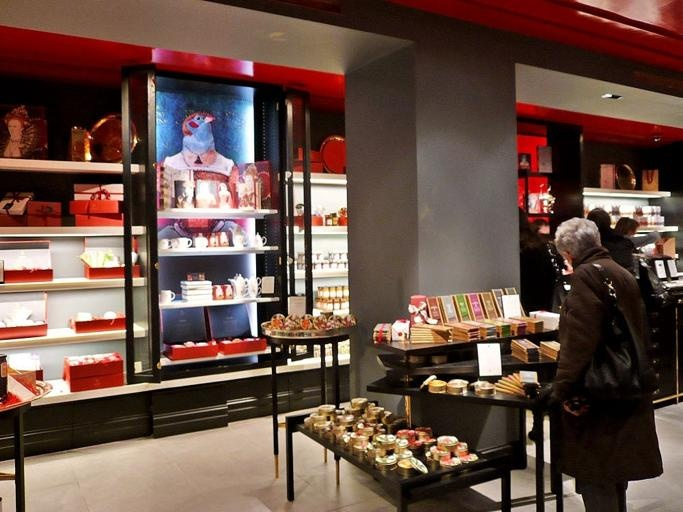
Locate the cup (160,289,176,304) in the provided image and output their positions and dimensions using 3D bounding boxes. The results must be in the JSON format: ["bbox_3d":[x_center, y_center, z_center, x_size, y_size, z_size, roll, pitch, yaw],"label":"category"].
[{"bbox_3d":[-1.734,0.413,5.473,0.098,0.124,0.154,-3,-12,23],"label":"cup"}]

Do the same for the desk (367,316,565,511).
[{"bbox_3d":[0.839,1.062,3.720,0.758,0.949,1.370,3,-7,-34],"label":"desk"}]

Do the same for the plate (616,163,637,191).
[{"bbox_3d":[4.529,-1.255,8.724,0.407,0.402,0.098,0,0,9],"label":"plate"}]

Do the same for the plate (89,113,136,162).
[{"bbox_3d":[-2.265,-1.212,5.385,0.426,0.116,0.425,-2,-14,36],"label":"plate"}]

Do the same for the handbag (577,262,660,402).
[{"bbox_3d":[1.568,0.441,3.048,0.384,0.710,0.293,5,16,28],"label":"handbag"}]

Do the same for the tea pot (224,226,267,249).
[{"bbox_3d":[-1.012,-0.191,5.812,0.403,0.190,0.210,2,-5,-32],"label":"tea pot"}]

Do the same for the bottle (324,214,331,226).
[{"bbox_3d":[-0.172,-0.418,6.257,0.108,0.132,0.105,1,-1,0],"label":"bottle"}]

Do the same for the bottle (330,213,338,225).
[{"bbox_3d":[-0.113,-0.431,6.328,0.121,0.157,0.118,0,-7,0],"label":"bottle"}]

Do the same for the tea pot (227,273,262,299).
[{"bbox_3d":[-1.040,0.320,5.827,0.302,0.248,0.215,5,-13,-35],"label":"tea pot"}]
